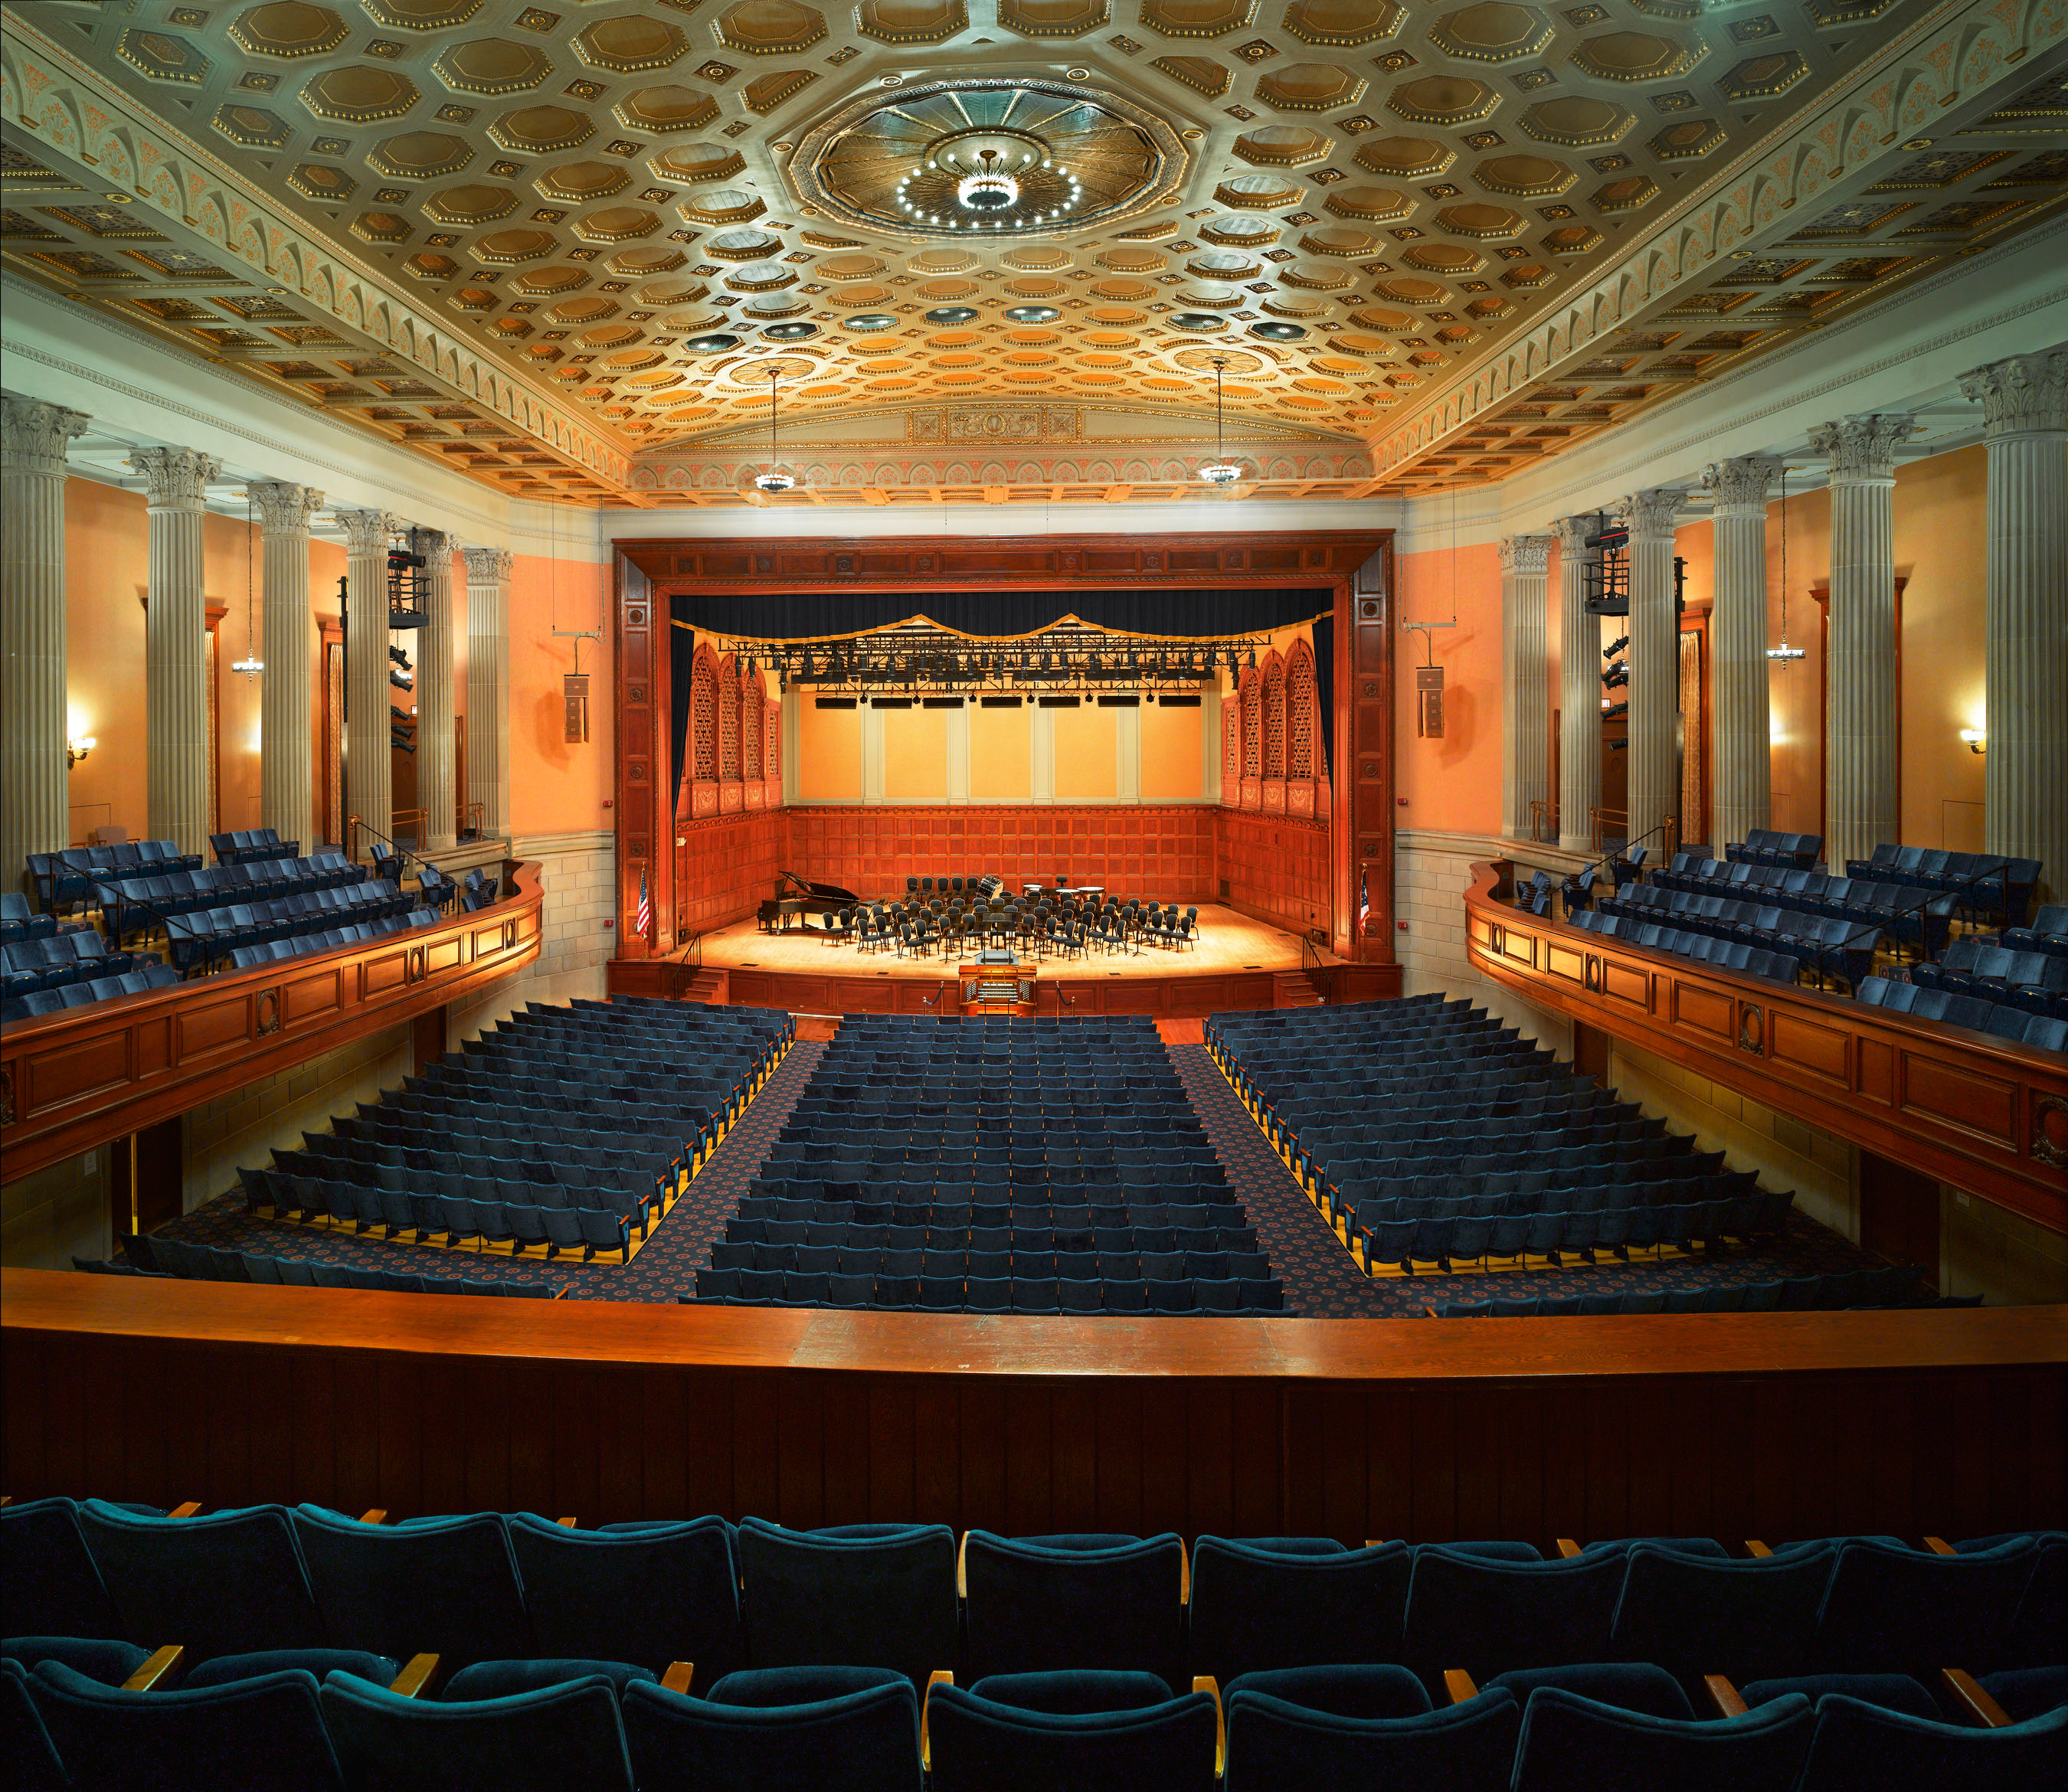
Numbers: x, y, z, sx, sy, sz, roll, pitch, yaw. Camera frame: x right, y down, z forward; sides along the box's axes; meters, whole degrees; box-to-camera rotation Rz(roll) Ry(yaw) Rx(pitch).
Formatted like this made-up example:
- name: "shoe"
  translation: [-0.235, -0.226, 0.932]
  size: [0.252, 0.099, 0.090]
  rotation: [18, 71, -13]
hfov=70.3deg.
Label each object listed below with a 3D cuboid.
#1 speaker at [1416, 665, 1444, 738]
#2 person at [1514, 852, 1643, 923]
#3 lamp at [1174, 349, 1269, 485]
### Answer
- name: "speaker"
  translation: [5.591, -2.715, 20.654]
  size: [0.388, 1.044, 0.777]
  rotation: [1, 15, 13]
- name: "person"
  translation: [5.608, -0.078, 15.224]
  size: [1.079, 0.328, 0.799]
  rotation: [1, 5, 34]
- name: "lamp"
  translation: [2.595, -6.240, 19.824]
  size: [0.901, 1.316, 2.385]
  rotation: [0, 13, 8]
